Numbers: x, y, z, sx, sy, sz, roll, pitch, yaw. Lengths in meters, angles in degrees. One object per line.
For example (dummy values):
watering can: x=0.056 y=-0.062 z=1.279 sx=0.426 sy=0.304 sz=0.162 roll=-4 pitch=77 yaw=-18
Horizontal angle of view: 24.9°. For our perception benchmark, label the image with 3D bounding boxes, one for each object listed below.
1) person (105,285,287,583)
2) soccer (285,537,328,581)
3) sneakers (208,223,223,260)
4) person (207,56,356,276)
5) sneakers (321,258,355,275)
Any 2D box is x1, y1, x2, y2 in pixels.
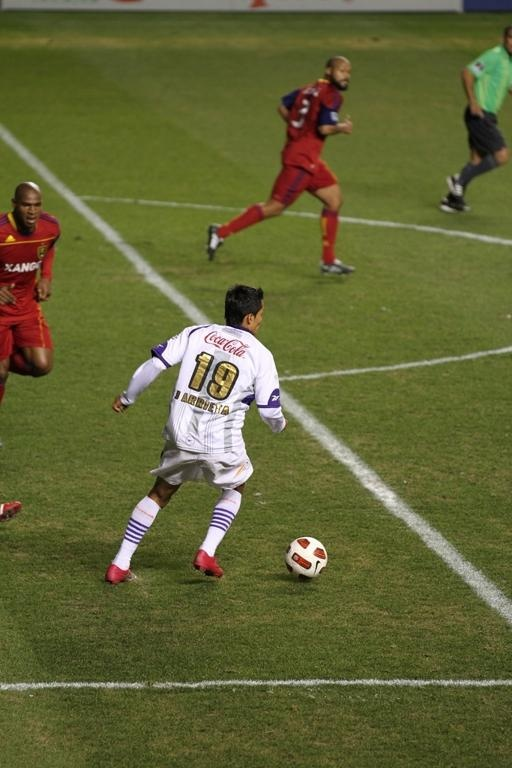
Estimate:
person: x=-0.282 y=0.223 z=5.227 sx=0.777 sy=1.299 sz=0.487 roll=-2 pitch=25 yaw=-13
soccer: x=0.241 y=0.791 z=5.284 sx=0.217 sy=0.186 sz=0.131 roll=-2 pitch=23 yaw=-12
sneakers: x=-0.354 y=-1.203 z=9.868 sx=0.130 sy=0.287 sz=0.147 roll=3 pitch=12 yaw=-14
person: x=0.301 y=-1.743 z=9.561 sx=1.123 sy=1.860 sz=0.827 roll=10 pitch=25 yaw=16
sneakers: x=0.695 y=-1.005 z=10.009 sx=0.358 sy=0.132 sz=0.106 roll=0 pitch=28 yaw=1
